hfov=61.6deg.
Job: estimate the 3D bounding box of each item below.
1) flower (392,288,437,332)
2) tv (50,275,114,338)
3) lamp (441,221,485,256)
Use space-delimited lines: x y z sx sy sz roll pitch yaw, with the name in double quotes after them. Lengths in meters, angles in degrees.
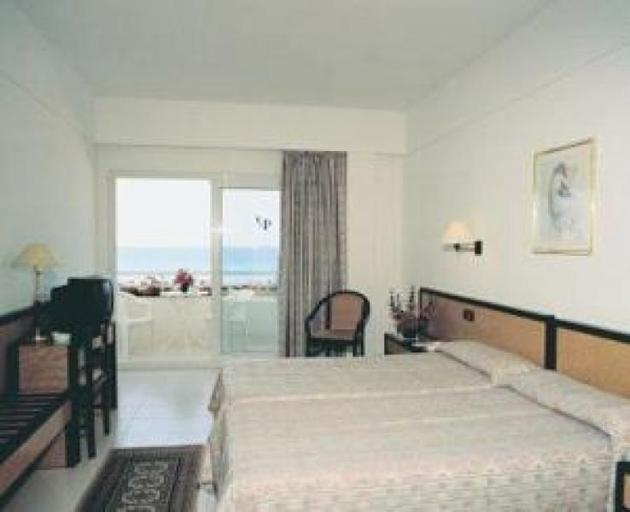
1.032 0.569 5.631 0.349 0.477 0.401 2 -2 -1 "flower"
-1.928 0.423 4.423 0.360 0.489 0.692 0 -1 -5 "tv"
1.401 -0.163 5.008 0.136 0.339 0.542 -1 1 -12 "lamp"
